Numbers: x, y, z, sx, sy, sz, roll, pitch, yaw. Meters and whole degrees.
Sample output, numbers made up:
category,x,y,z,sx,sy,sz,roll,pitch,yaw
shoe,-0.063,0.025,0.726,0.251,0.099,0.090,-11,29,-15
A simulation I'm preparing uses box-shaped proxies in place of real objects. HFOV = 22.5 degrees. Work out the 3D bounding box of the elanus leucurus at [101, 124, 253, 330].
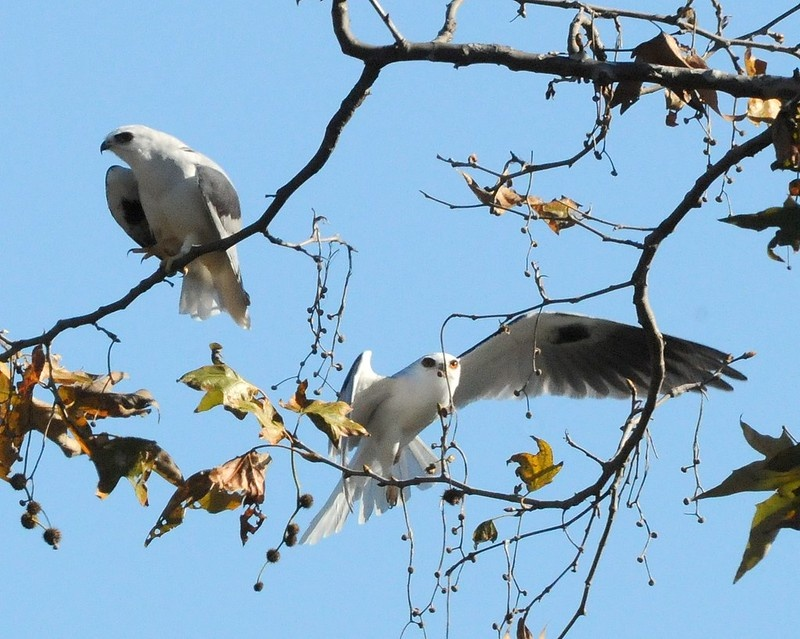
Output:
category,x,y,z,sx,sy,sz,roll,pitch,yaw
elanus leucurus,-1.027,-0.464,9.316,0.855,0.637,0.827,11,-95,-29
